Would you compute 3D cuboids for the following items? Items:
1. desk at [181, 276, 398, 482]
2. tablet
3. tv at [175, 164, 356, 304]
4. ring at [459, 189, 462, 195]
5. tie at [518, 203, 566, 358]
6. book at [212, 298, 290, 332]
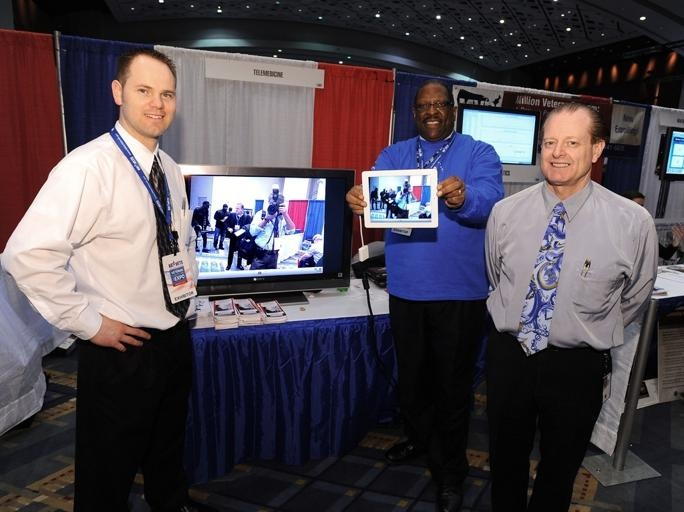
[{"bbox_3d":[-0.396,0.515,3.142,1.212,0.645,0.857,-4,15,-13],"label":"desk"},{"bbox_3d":[0.273,-0.274,2.380,0.265,0.196,0.012,2,7,8],"label":"tablet"},{"bbox_3d":[-0.471,-0.145,2.918,0.819,0.584,0.063,-3,9,-15],"label":"tv"},{"bbox_3d":[0.536,-0.297,2.319,0.023,0.020,0.013,2,-3,-29],"label":"ring"},{"bbox_3d":[0.864,0.089,2.185,0.132,0.623,0.220,9,18,41],"label":"tie"},{"bbox_3d":[-0.549,0.300,2.914,0.406,0.093,0.324,-6,14,-14],"label":"book"}]
